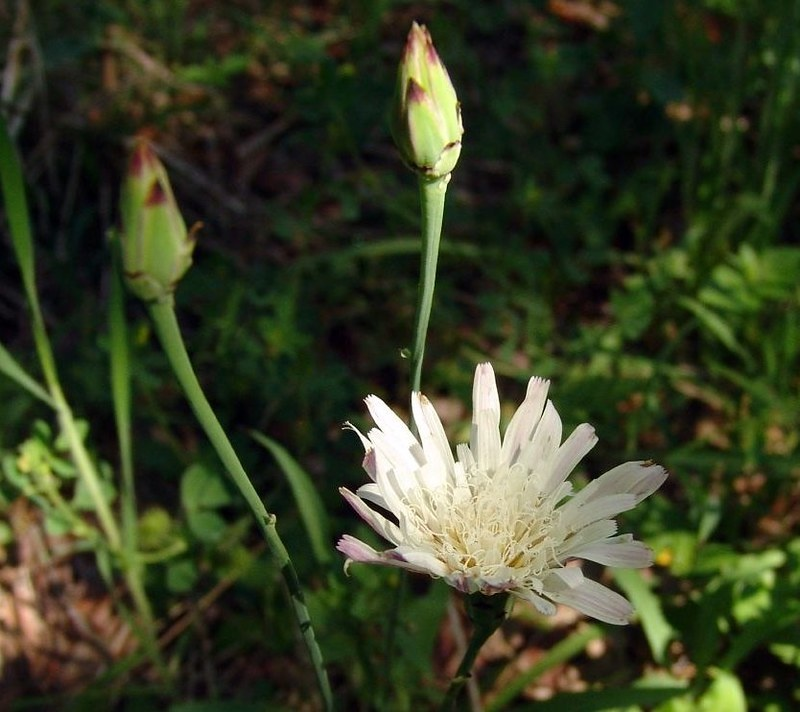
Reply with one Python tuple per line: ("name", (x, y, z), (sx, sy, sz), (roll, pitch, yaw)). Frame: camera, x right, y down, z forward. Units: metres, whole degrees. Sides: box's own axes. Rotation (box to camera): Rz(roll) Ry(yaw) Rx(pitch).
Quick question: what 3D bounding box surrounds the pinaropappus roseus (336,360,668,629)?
("pinaropappus roseus", (0.115, 0.214, 1.115), (0.380, 0.159, 0.381), (-38, 24, -26))
